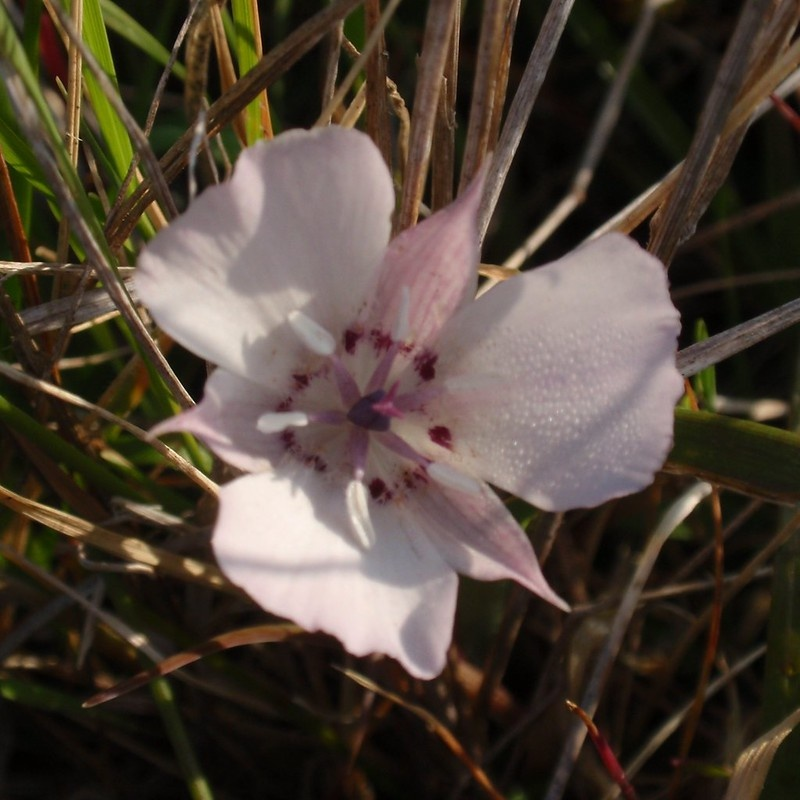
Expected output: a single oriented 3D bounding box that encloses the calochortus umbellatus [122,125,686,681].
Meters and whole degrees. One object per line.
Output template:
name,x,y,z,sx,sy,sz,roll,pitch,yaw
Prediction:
calochortus umbellatus,0.006,-0.002,1.204,0.586,0.355,0.538,27,67,5
